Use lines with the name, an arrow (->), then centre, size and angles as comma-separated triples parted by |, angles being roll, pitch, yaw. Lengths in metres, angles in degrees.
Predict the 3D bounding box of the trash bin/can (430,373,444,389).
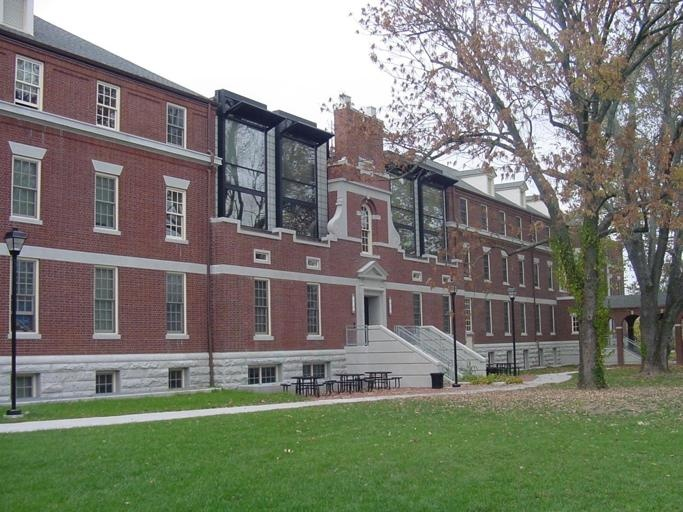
trash bin/can -> 4.456, 5.853, 32.999 | 0.629, 0.620, 0.639 | 1, -9, -4
